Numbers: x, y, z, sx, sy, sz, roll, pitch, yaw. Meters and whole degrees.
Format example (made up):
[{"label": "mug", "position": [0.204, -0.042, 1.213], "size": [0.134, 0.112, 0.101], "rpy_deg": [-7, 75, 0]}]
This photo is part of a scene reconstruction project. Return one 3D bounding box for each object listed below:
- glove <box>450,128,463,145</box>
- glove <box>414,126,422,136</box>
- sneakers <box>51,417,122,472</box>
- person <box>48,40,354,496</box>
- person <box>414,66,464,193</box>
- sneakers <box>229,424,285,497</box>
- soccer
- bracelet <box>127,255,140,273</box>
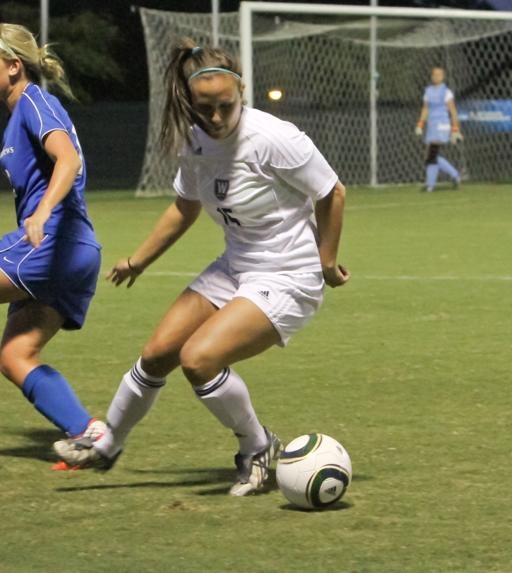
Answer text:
[{"label": "glove", "position": [1.416, -1.043, 5.708], "size": [0.085, 0.106, 0.183], "rpy_deg": [0, 6, 13]}, {"label": "glove", "position": [1.193, -1.133, 5.944], "size": [0.050, 0.055, 0.064], "rpy_deg": [-1, -4, 20]}, {"label": "sneakers", "position": [-0.583, 0.533, 2.780], "size": [0.270, 0.141, 0.108], "rpy_deg": [-12, 44, -4]}, {"label": "person", "position": [-0.149, -0.027, 2.588], "size": [0.854, 1.440, 0.563], "rpy_deg": [-1, 8, 11]}, {"label": "person", "position": [1.274, -1.053, 5.632], "size": [0.317, 0.770, 0.784], "rpy_deg": [-1, 7, 11]}, {"label": "sneakers", "position": [-0.021, 0.578, 2.659], "size": [0.104, 0.241, 0.123], "rpy_deg": [16, -12, 48]}, {"label": "soccer", "position": [0.151, 0.570, 2.498], "size": [0.234, 0.204, 0.238], "rpy_deg": [23, -38, -39]}, {"label": "bracelet", "position": [-0.431, -0.077, 2.850], "size": [0.055, 0.032, 0.047], "rpy_deg": [4, 27, -9]}]
